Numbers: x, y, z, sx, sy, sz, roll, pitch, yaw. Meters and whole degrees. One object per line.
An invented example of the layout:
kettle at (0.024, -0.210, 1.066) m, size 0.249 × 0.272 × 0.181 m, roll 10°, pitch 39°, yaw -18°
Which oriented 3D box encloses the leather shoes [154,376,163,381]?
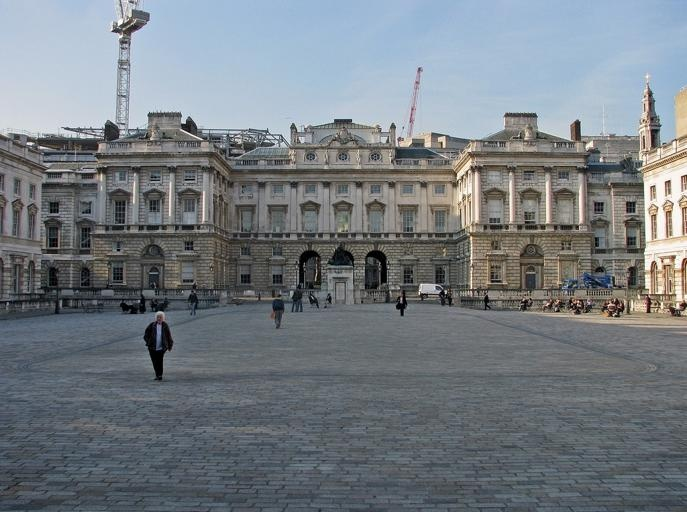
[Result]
leather shoes at (-5.932, 3.864, 28.184) m, size 0.320 × 0.205 × 0.115 m, roll 2°, pitch -2°, yaw 30°

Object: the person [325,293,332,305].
person at (-1.179, 3.365, 70.377) m, size 0.752 × 1.150 × 0.713 m, roll 2°, pitch -5°, yaw -3°
